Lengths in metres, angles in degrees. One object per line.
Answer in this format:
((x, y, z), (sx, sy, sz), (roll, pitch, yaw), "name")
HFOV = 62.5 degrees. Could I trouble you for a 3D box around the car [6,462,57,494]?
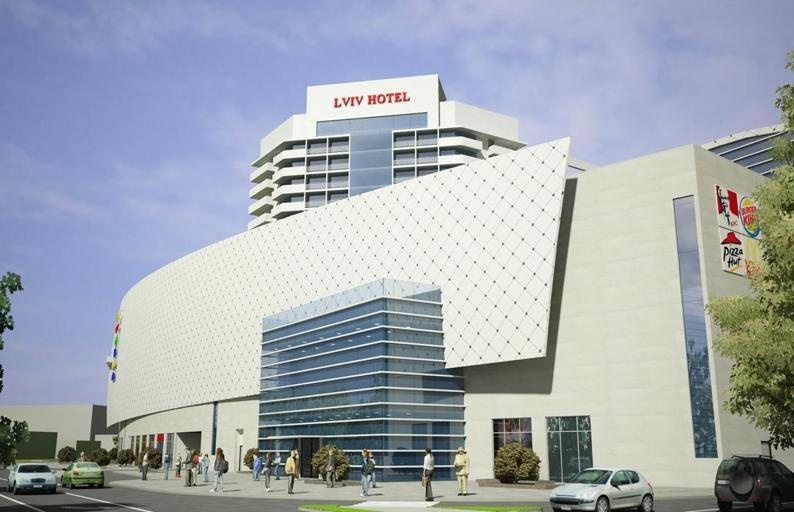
((-22.339, 13.587, 40.164), (3.332, 1.876, 2.068), (-14, -26, 34), "car")
